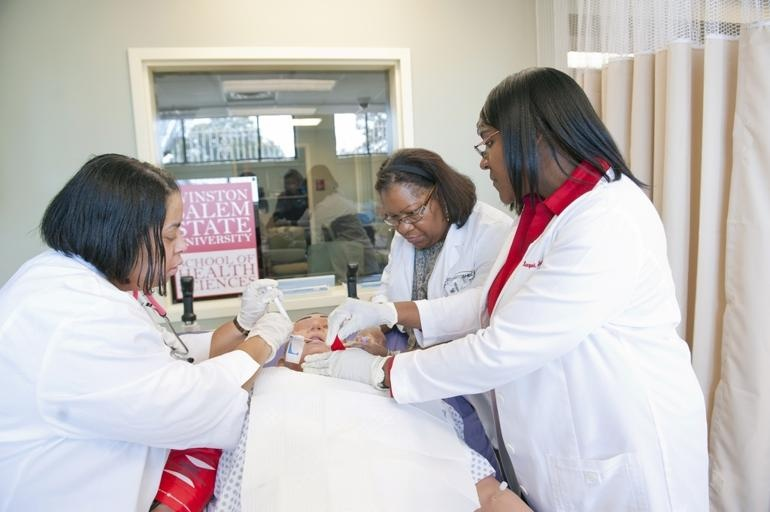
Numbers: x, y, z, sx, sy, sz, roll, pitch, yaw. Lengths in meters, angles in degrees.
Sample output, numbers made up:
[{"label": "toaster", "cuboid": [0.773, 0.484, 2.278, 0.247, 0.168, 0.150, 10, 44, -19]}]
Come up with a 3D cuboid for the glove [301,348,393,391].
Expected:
[{"label": "glove", "cuboid": [-0.167, 0.471, 2.344, 0.272, 0.173, 0.096, 4, -32, 11]}]

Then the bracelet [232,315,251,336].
[{"label": "bracelet", "cuboid": [-0.665, 0.318, 2.525, 0.026, 0.086, 0.087, -36, -14, -32]}]

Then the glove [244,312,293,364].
[{"label": "glove", "cuboid": [-0.474, 0.334, 2.273, 0.132, 0.234, 0.091, 31, -51, -14]}]
